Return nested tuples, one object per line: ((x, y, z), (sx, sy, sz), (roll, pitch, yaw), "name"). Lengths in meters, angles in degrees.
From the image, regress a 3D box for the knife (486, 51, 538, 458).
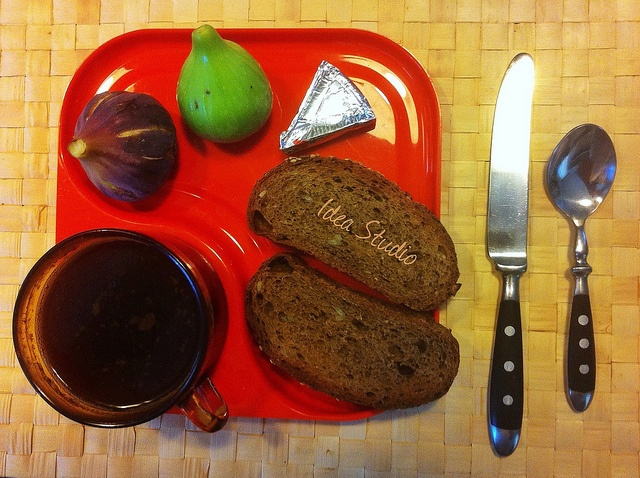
((0.381, 0.014, 1.552), (0.082, 0.040, 0.856), (1, 89, 10), "knife")

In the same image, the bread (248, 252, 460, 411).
((0.051, 0.194, 1.489), (0.422, 0.089, 0.212), (21, 78, 9), "bread")
